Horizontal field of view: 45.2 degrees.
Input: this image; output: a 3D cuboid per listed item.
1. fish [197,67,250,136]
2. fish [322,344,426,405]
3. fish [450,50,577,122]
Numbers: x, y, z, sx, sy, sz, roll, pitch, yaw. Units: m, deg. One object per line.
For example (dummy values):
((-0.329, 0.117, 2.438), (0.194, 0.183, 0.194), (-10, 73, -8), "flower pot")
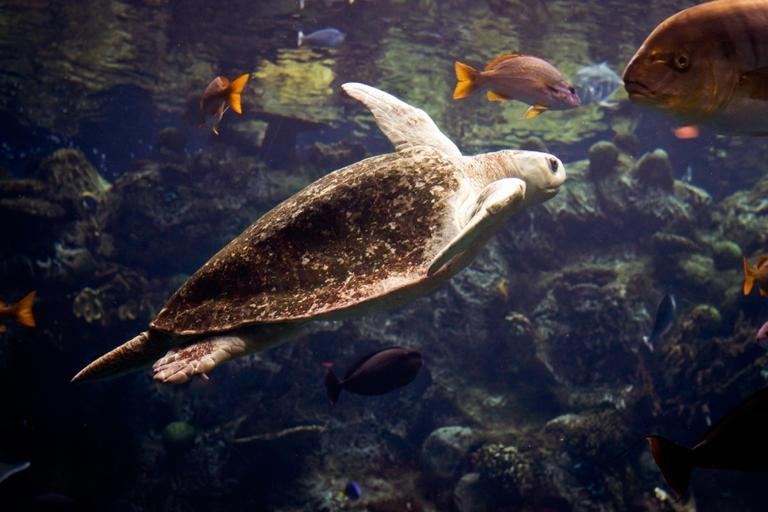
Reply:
((-4.454, -4.200, 24.998), (1.010, 2.031, 1.187), (54, 40, -2), "fish")
((-0.210, 3.207, 25.291), (3.396, 1.582, 1.106), (-17, 1, 3), "fish")
((3.459, -4.050, 24.062), (4.347, 2.279, 1.957), (-3, 19, -13), "fish")
